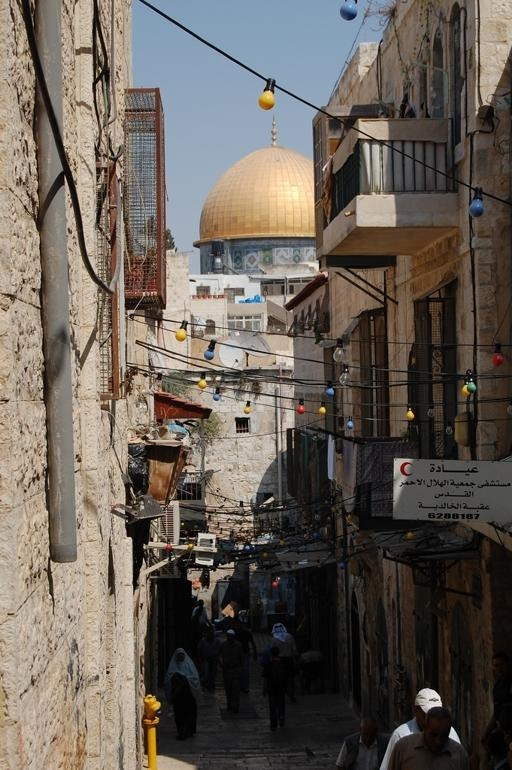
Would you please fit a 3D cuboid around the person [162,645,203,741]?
[{"bbox_3d":[-0.737,3.045,16.583,0.287,1.079,0.268,1,23,3],"label":"person"}]

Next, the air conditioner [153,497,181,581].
[{"bbox_3d":[-1.010,1.517,19.298,0.271,0.684,0.364,3,29,3],"label":"air conditioner"}]

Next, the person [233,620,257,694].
[{"bbox_3d":[-0.182,3.314,20.437,0.311,1.146,0.323,-4,30,-6],"label":"person"}]

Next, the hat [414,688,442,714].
[{"bbox_3d":[0.925,1.706,9.012,0.076,0.100,0.139,1,-6,-7],"label":"hat"}]

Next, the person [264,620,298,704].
[{"bbox_3d":[0.286,3.074,18.152,0.262,0.931,0.246,-4,-25,-2],"label":"person"}]

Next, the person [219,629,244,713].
[{"bbox_3d":[-0.270,3.158,18.273,0.226,0.942,0.878,0,-3,-1],"label":"person"}]
